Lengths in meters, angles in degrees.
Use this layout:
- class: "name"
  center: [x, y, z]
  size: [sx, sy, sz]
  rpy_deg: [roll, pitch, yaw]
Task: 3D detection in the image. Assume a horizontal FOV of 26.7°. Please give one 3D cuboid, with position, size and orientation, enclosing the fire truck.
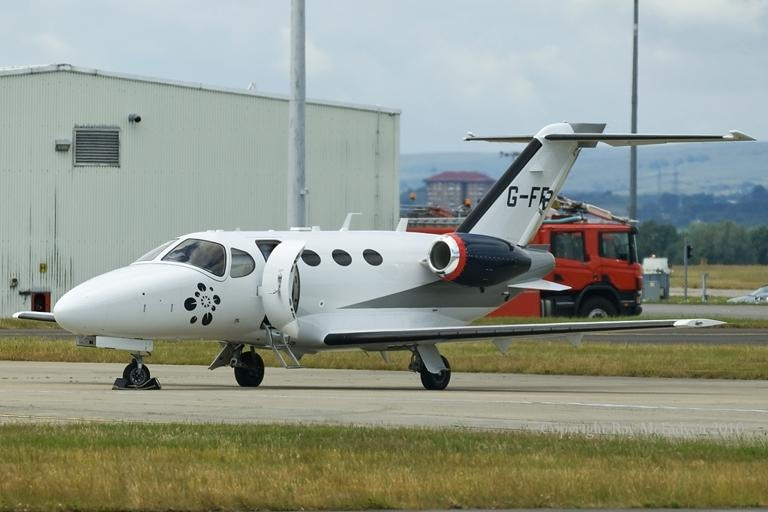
- class: "fire truck"
  center: [5.825, 0.554, 60.703]
  size: [9.382, 4.317, 4.395]
  rpy_deg: [-4, 4, 23]

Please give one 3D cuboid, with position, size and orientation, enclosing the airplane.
- class: "airplane"
  center: [-1.387, 0.870, 44.455]
  size: [11.285, 3.908, 11.931]
  rpy_deg: [2, -3, -36]

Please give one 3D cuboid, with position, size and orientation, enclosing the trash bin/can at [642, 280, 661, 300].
- class: "trash bin/can"
  center: [12.119, 1.571, 73.090]
  size: [1.236, 1.088, 0.661]
  rpy_deg: [1, 2, 2]
